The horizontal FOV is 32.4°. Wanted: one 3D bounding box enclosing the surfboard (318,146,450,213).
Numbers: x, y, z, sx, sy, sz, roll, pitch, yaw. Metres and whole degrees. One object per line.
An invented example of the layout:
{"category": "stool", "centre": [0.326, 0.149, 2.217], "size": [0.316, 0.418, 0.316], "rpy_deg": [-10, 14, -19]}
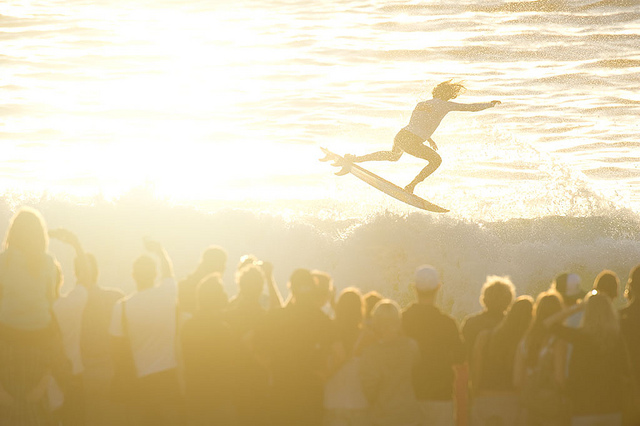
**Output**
{"category": "surfboard", "centre": [2.068, -0.918, 36.662], "size": [4.735, 0.482, 1.052], "rpy_deg": [28, 3, -4]}

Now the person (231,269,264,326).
{"category": "person", "centre": [-1.995, 2.262, 30.204], "size": [0.950, 1.457, 0.678], "rpy_deg": [0, 22, 6]}
